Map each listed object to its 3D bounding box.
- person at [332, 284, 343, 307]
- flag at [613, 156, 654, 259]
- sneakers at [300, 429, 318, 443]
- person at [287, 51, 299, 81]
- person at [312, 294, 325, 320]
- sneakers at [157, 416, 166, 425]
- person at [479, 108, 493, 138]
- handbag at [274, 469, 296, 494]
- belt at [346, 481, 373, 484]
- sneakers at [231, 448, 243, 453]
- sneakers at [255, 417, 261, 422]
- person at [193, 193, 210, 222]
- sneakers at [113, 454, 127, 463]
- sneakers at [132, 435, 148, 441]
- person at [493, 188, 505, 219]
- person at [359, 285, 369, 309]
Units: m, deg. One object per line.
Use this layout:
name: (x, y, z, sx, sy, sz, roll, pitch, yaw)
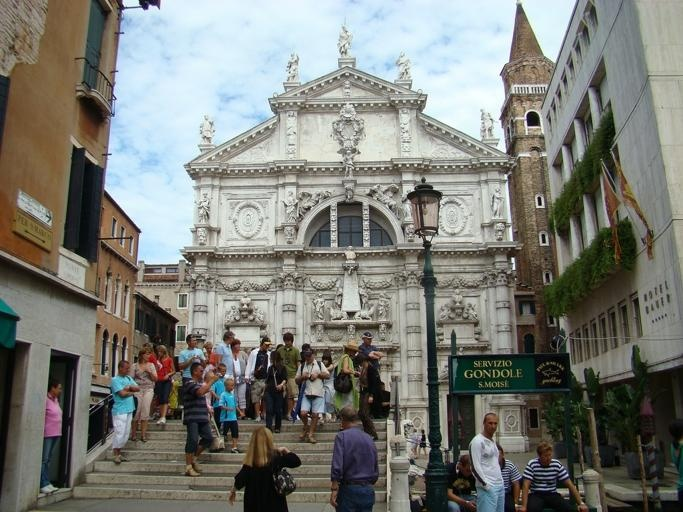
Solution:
person: (-0.183, 2.486, 39.772, 0.658, 1.518, 0.348, -7, -21, 18)
flag: (12.335, -2.234, 26.938, 0.818, 5.219, 2.223, -5, -21, 13)
sneakers: (-0.960, 5.405, 18.956, 0.222, 0.298, 0.674, 15, -28, -23)
person: (-3.276, -12.778, 43.532, 0.726, 1.933, 0.556, 6, -21, -17)
person: (-1.403, 3.157, 39.643, 0.847, 1.843, 0.534, -1, -20, 2)
sneakers: (-5.645, 5.202, 20.118, 0.199, 0.138, 0.345, 1, -19, -5)
person: (9.740, -8.855, 42.705, 0.744, 2.359, 0.602, -3, -20, 6)
handbag: (-1.036, 3.850, 10.860, 0.320, 0.208, 0.435, 24, 1, -41)
belt: (0.344, 4.264, 11.994, 0.498, 0.060, 0.169, 13, -25, -31)
sneakers: (-3.003, 5.646, 18.495, 0.341, 0.145, 0.119, 0, -4, 12)
sneakers: (-2.796, 5.498, 21.455, 0.158, 0.082, 0.219, 1, 3, -5)
person: (-8.882, -3.036, 40.985, 0.842, 2.162, 0.603, 0, -20, -2)
sneakers: (-6.162, 5.654, 17.751, 0.227, 0.153, 0.367, 4, -15, -18)
sneakers: (-6.020, 5.474, 19.043, 0.578, 0.170, 0.211, -6, -16, 16)
person: (9.962, -3.379, 40.673, 0.779, 2.183, 0.298, -6, -21, 15)
person: (1.442, 2.545, 39.682, 0.674, 1.466, 0.375, 4, -20, -13)
